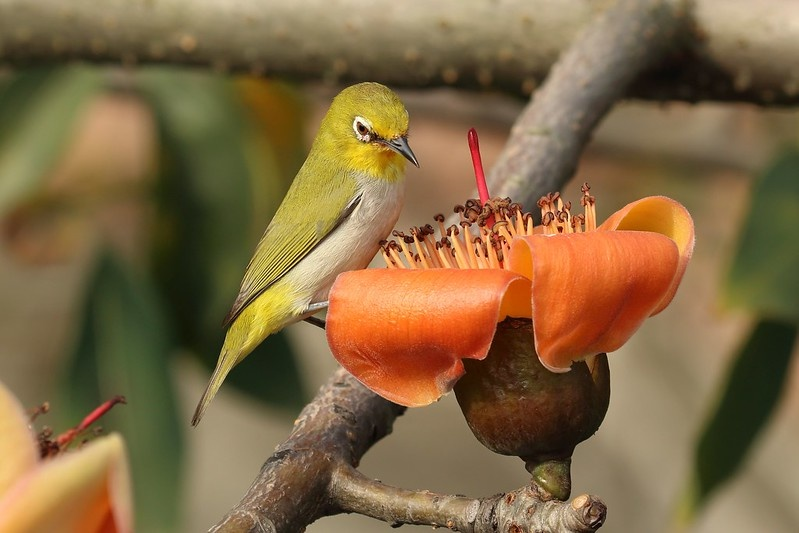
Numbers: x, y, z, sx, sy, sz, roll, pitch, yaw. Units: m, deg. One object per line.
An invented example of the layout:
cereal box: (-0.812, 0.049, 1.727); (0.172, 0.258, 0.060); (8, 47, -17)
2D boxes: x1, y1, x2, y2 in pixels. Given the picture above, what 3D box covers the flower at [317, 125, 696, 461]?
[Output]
flower: (0.182, -0.016, 1.833); (0.614, 0.668, 0.726); (-5, 14, 22)
